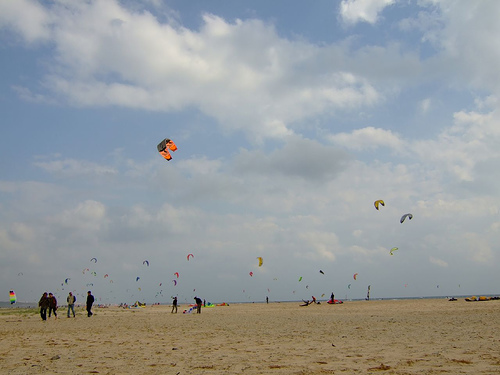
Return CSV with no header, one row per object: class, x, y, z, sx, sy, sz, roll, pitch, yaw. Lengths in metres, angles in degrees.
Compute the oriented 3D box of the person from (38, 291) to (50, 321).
person,-10.993,6.403,32.549,0.501,1.450,1.626,3,-15,-18
